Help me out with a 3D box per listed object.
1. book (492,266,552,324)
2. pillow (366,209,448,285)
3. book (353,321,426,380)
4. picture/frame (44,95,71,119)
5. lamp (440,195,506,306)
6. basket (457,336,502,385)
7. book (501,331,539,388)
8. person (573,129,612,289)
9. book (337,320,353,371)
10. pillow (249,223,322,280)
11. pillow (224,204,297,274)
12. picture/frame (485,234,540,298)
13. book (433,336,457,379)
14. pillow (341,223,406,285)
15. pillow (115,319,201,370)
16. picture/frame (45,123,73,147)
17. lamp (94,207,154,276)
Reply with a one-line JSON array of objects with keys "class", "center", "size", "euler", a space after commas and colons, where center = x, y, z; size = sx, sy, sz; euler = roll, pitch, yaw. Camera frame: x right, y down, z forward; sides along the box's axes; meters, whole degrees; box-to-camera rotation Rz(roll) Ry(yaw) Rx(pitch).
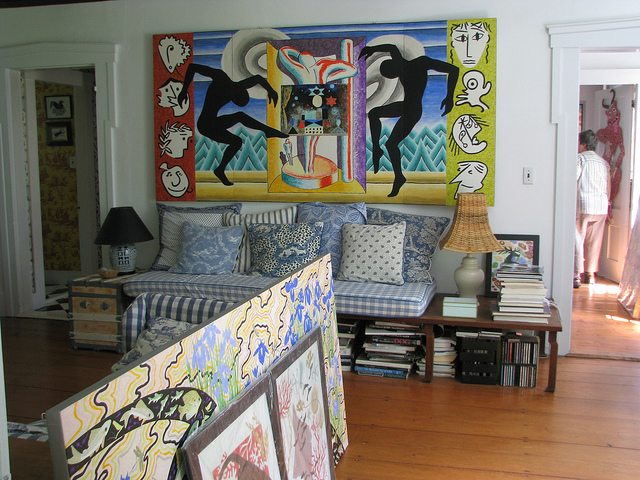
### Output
[{"class": "book", "center": [1.441, 0.384, 3.744], "size": [0.471, 0.329, 0.363], "euler": [1, 6, 26]}, {"class": "pillow", "center": [0.798, 0.036, 4.277], "size": [0.632, 0.586, 0.189], "euler": [9, -14, 5]}, {"class": "book", "center": [0.536, 0.830, 3.923], "size": [0.452, 0.177, 0.452], "euler": [2, 17, 19]}, {"class": "picture/frame", "center": [-3.224, -1.644, 6.415], "size": [0.296, 0.249, 0.032], "euler": [1, 11, 11]}, {"class": "lamp", "center": [1.155, 0.065, 4.117], "size": [0.560, 0.850, 0.560], "euler": [-9, 13, -35]}, {"class": "basket", "center": [1.167, 0.866, 3.775], "size": [0.287, 0.349, 0.084], "euler": [1, 11, 9]}, {"class": "book", "center": [1.425, 0.886, 3.734], "size": [0.240, 0.323, 0.107], "euler": [1, 11, 9]}, {"class": "person", "center": [3.341, -0.390, 6.389], "size": [0.403, 1.865, 0.855], "euler": [5, 12, 25]}, {"class": "book", "center": [0.207, 0.822, 4.040], "size": [0.142, 0.364, 0.116], "euler": [0, 11, 1]}, {"class": "pillow", "center": [-0.253, 0.087, 4.010], "size": [0.474, 0.321, 0.174], "euler": [-2, -2, 9]}, {"class": "pillow", "center": [-0.545, -0.050, 4.413], "size": [0.638, 0.591, 0.184], "euler": [2, -12, -1]}, {"class": "picture/frame", "center": [1.515, 0.188, 4.040], "size": [0.526, 0.672, 0.046], "euler": [1, -4, 10]}, {"class": "book", "center": [0.932, 0.876, 3.899], "size": [0.209, 0.271, 0.091], "euler": [2, -2, 6]}, {"class": "pillow", "center": [0.443, 0.132, 4.190], "size": [0.475, 0.451, 0.167], "euler": [1, -22, 16]}, {"class": "pillow", "center": [-0.660, 0.418, 2.128], "size": [0.286, 0.099, 0.330], "euler": [-14, 14, 26]}, {"class": "picture/frame", "center": [-3.222, -1.307, 6.443], "size": [0.282, 0.267, 0.030], "euler": [6, 11, 4]}, {"class": "lamp", "center": [-1.748, -0.018, 4.854], "size": [0.581, 0.623, 0.563], "euler": [-5, 8, -28]}]
